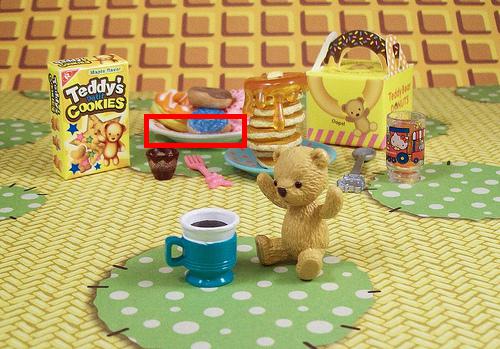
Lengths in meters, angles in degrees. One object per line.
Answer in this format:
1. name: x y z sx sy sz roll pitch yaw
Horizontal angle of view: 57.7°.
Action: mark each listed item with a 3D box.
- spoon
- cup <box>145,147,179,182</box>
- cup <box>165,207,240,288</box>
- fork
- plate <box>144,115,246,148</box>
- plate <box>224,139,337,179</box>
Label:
1. spoon: 0.292 -0.019 1.232 0.068 0.021 0.218 8 35 22
2. cup: -0.239 -0.018 1.232 0.093 0.061 0.083 0 1 12
3. cup: -0.072 0.116 0.873 0.188 0.139 0.136 -1 9 -8
4. fork: -0.129 -0.012 1.247 0.063 0.027 0.195 -1 21 -23
5. plate: -0.176 -0.125 1.415 0.310 0.071 0.143 1 28 1
6. plate: 0.083 -0.040 1.256 0.298 0.073 0.216 -7 28 -14
